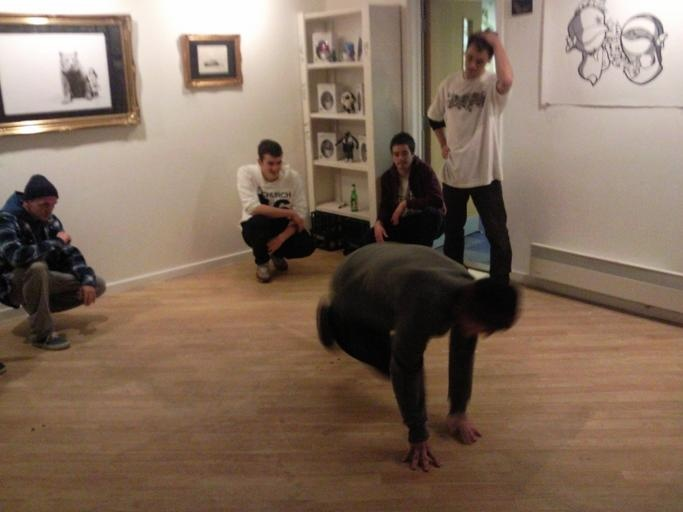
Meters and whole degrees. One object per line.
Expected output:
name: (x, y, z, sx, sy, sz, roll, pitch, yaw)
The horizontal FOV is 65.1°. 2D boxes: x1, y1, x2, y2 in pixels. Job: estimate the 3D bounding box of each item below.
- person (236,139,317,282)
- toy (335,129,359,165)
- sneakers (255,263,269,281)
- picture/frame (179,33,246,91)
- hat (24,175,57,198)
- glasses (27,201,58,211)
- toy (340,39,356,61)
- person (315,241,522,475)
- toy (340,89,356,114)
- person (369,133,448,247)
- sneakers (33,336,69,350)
person: (-0.605, -0.439, 4.879, 0.653, 1.213, 0.445, -7, 17, -13)
toy: (0.052, -1.080, 5.341, 0.154, 0.302, 0.262, -18, 26, -40)
sneakers: (-0.717, 0.137, 4.892, 0.136, 0.131, 0.225, -5, 19, -8)
picture/frame: (-1.207, -1.778, 4.886, 0.507, 0.444, 0.094, -9, 10, -37)
hat: (-2.122, -0.497, 3.827, 0.197, 0.167, 0.157, -6, 11, -4)
glasses: (-2.118, -0.366, 3.796, 0.105, 0.065, 0.100, 5, 12, 29)
toy: (0.056, -1.966, 5.118, 0.148, 0.200, 0.259, -3, 19, 0)
person: (0.288, 0.369, 2.712, 0.453, 0.869, 1.308, -6, 19, -28)
toy: (0.073, -1.484, 5.184, 0.156, 0.222, 0.110, 17, 36, 32)
person: (0.579, -0.474, 4.639, 0.580, 1.114, 0.559, -1, 2, 27)
sneakers: (-2.083, 0.623, 3.846, 0.205, 0.096, 0.124, 3, 7, 3)
